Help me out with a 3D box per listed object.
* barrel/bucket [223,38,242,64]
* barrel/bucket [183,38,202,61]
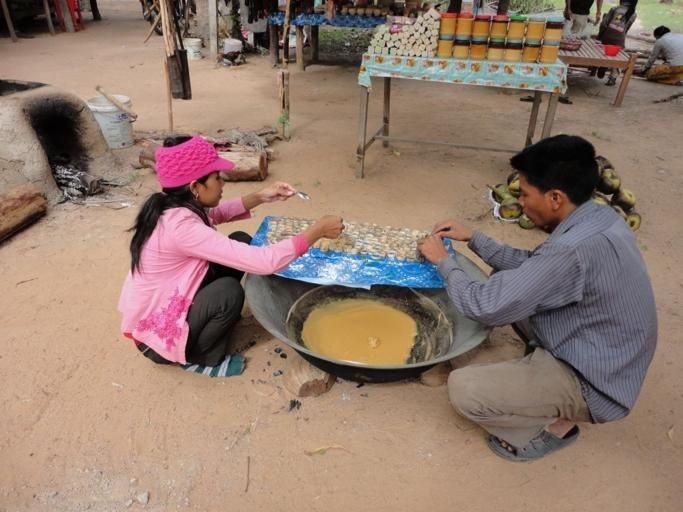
[{"bbox_3d":[-2.874,-5.266,12.918,0.516,0.555,0.765,-5,30,-10],"label":"barrel/bucket"},{"bbox_3d":[-4.033,-5.561,13.473,0.391,0.474,0.589,-9,32,-15],"label":"barrel/bucket"}]
